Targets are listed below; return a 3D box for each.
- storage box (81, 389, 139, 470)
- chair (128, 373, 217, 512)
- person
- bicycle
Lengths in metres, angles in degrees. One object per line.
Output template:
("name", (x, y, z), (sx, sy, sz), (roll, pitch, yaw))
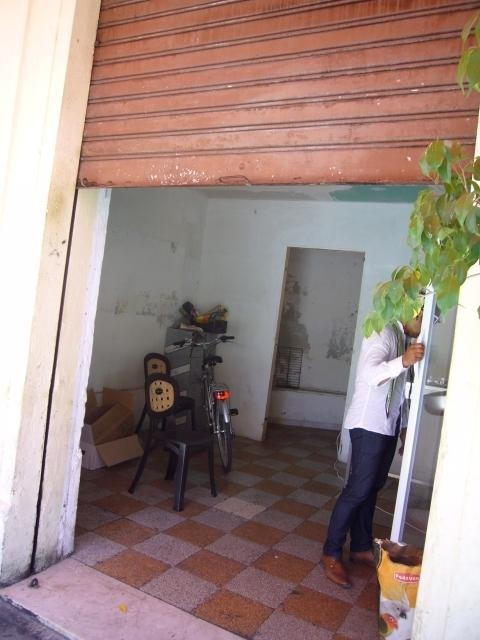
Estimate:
("storage box", (-1.173, 0.938, 4.140), (0.611, 0.478, 0.538), (8, 13, 30))
("chair", (-0.495, 0.877, 3.549), (0.589, 0.894, 0.570), (3, 0, 11))
("person", (0.724, 0.698, 2.574), (0.422, 1.408, 0.911), (6, -1, 13))
("bicycle", (-0.456, 0.728, 4.677), (0.532, 0.764, 1.272), (-3, 21, -13))
